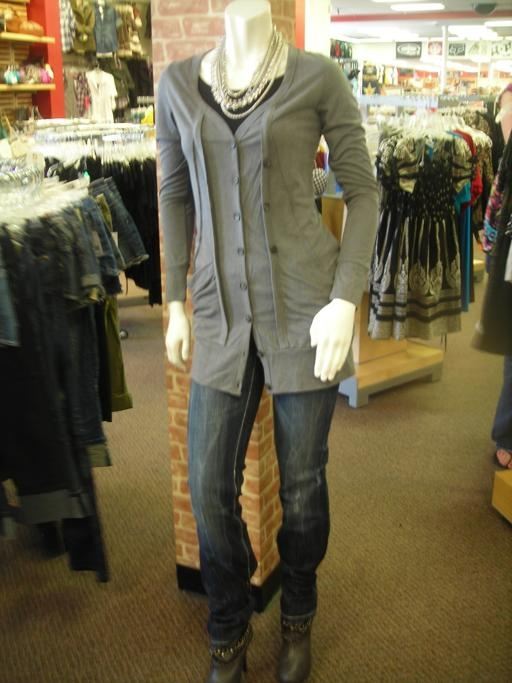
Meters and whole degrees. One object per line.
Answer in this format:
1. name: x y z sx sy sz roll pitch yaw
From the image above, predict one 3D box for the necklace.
1. necklace: -0.014 -0.466 0.920 0.138 0.166 0.121 1 9 6
